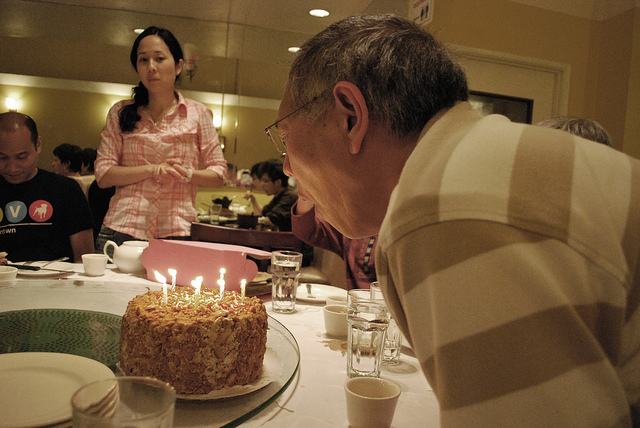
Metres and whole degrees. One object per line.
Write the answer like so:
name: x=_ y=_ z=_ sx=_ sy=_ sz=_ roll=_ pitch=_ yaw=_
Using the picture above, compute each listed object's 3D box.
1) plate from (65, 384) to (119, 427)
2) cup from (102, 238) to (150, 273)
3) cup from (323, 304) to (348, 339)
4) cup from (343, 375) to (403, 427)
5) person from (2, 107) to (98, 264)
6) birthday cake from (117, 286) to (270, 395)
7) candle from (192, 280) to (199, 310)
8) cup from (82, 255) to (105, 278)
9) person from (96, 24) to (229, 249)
plate: x=-0.456 y=0.376 z=1.041 sx=0.087 sy=0.039 sz=0.079 roll=-3 pitch=-3 yaw=-6
cup: x=-0.850 y=0.179 z=2.262 sx=0.210 sy=0.134 sz=0.171 roll=-1 pitch=0 yaw=13
cup: x=0.054 y=0.343 z=1.678 sx=0.091 sy=0.073 sz=0.092 roll=0 pitch=2 yaw=0
cup: x=0.128 y=0.450 z=1.261 sx=0.110 sy=0.087 sz=0.119 roll=3 pitch=-3 yaw=0
person: x=-1.589 y=-0.142 z=3.051 sx=0.290 sy=0.839 sz=0.511 roll=6 pitch=3 yaw=28
birthday cake: x=-0.342 y=0.333 z=1.418 sx=0.389 sy=0.215 sz=0.269 roll=5 pitch=2 yaw=-4
candle: x=-0.350 y=0.229 z=1.470 sx=0.022 sy=0.016 sz=0.066 roll=3 pitch=28 yaw=-11
cup: x=-0.899 y=0.205 z=2.092 sx=0.086 sy=0.076 sz=0.083 roll=6 pitch=-2 yaw=0
person: x=-0.844 y=-0.410 z=2.844 sx=0.685 sy=1.215 sz=0.408 roll=4 pitch=3 yaw=-18
